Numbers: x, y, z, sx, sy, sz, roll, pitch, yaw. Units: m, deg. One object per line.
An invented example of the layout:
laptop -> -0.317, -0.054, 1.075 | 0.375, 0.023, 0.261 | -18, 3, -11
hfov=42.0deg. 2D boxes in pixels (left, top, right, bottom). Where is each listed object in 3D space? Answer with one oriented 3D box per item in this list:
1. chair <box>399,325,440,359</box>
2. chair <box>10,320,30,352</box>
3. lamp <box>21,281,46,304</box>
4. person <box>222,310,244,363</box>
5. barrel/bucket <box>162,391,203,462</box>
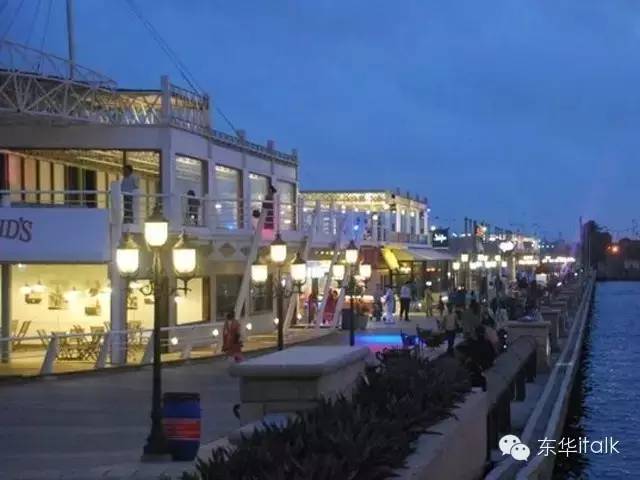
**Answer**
chair -> 3.449, 3.375, 27.768 | 1.288, 0.979, 2.364 | 0, -5, 15
chair -> -10.352, 3.314, 28.888 | 0.529, 0.980, 1.991 | 2, -5, -17
lamp -> -10.130, 1.872, 29.541 | 0.773, 0.824, 1.100 | 3, -5, -20
person -> -2.532, 2.794, 24.150 | 0.522, 1.454, 2.025 | 1, -5, -7
barrel/bucket -> -2.771, 3.724, 16.645 | 0.786, 1.335, 0.518 | 1, -4, 2
